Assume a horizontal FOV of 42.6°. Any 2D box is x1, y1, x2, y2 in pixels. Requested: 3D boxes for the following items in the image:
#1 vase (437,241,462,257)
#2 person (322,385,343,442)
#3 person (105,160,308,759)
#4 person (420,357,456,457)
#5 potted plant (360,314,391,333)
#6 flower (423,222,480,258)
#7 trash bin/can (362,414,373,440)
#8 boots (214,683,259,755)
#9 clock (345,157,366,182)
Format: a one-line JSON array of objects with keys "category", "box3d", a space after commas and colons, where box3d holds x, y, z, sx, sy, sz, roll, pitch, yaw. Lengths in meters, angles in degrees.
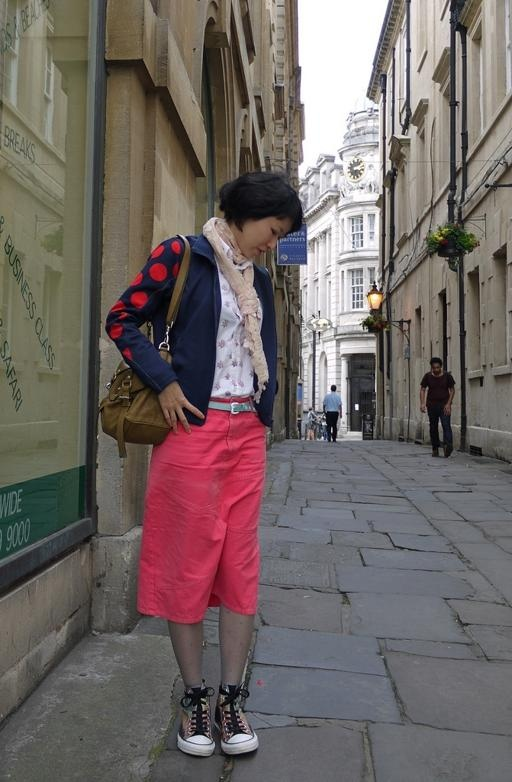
[{"category": "vase", "box3d": [3.512, -2.646, 11.963, 0.229, 0.312, 0.281, -1, -14, 4]}, {"category": "person", "box3d": [2.683, 0.756, 23.155, 0.582, 2.184, 0.486, 5, 27, 12]}, {"category": "person", "box3d": [-0.145, 0.173, 1.804, 0.544, 1.085, 0.351, 2, -1, -18]}, {"category": "person", "box3d": [3.405, 0.270, 12.380, 0.590, 1.872, 1.570, 1, -1, 17]}, {"category": "potted plant", "box3d": [3.870, -2.205, 21.375, 0.622, 0.609, 0.732, 3, -6, -5]}, {"category": "flower", "box3d": [3.567, -2.824, 12.089, 0.810, 0.660, 0.862, 2, -1, -1]}, {"category": "trash bin/can", "box3d": [6.281, 1.974, 36.960, 0.534, 1.349, 0.611, 1, -1, 19]}, {"category": "boots", "box3d": [-0.053, 0.867, 1.716, 0.062, 0.141, 0.203, 0, -14, -6]}, {"category": "clock", "box3d": [8.235, -18.490, 54.489, 0.363, 1.941, 1.685, 7, -35, -39]}]
